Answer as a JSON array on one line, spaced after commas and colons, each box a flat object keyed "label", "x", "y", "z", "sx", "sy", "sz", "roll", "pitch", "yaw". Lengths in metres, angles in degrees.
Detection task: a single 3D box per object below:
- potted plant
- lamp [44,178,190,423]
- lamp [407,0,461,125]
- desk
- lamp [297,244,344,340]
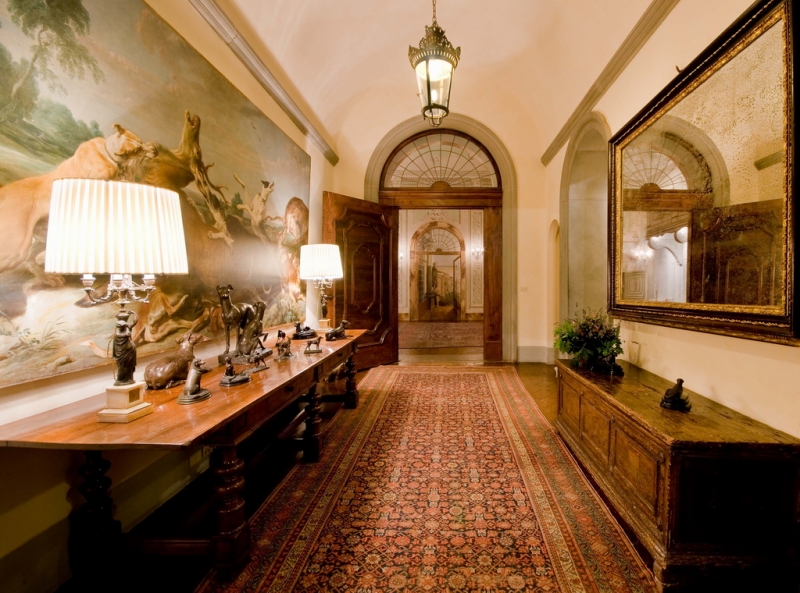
[{"label": "potted plant", "x": 1.673, "y": 0.343, "z": 4.318, "sx": 0.538, "sy": 0.436, "sz": 0.548, "roll": -1, "pitch": 5, "yaw": -32}, {"label": "lamp", "x": -1.712, "y": 0.003, "z": 2.873, "sx": 0.770, "sy": 1.367, "sz": 0.497, "roll": 0, "pitch": 14, "yaw": 4}, {"label": "lamp", "x": 0.290, "y": -1.787, "z": 3.856, "sx": 0.333, "sy": 0.771, "sz": 0.352, "roll": -11, "pitch": 17, "yaw": -36}, {"label": "desk", "x": -1.330, "y": 1.044, "z": 3.462, "sx": 1.119, "sy": 1.199, "sz": 2.216, "roll": 8, "pitch": 18, "yaw": 31}, {"label": "lamp", "x": -0.927, "y": -0.097, "z": 5.743, "sx": 0.487, "sy": 1.291, "sz": 1.729, "roll": -3, "pitch": 15, "yaw": -8}]
